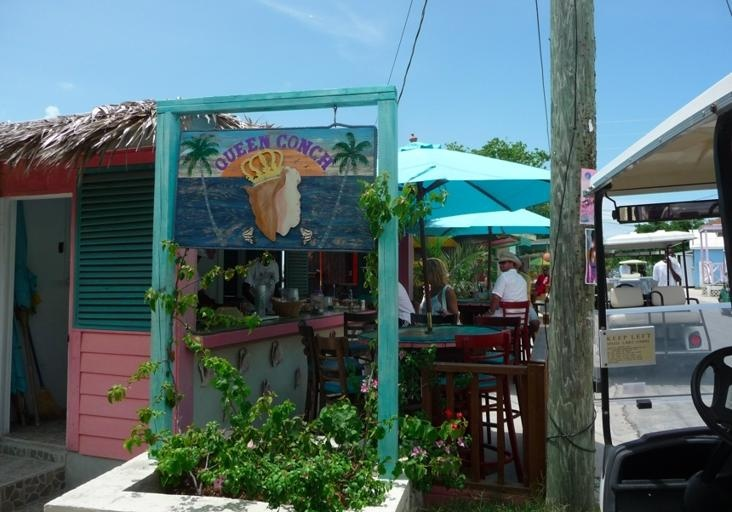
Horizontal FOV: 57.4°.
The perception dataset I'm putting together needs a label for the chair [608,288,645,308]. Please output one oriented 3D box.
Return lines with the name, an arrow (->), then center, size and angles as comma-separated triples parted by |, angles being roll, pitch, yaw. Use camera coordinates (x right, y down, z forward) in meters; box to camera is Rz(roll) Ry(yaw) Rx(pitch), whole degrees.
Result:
chair -> 4.059, 0.644, 10.447 | 0.581, 0.431, 0.449 | 0, 2, 28
